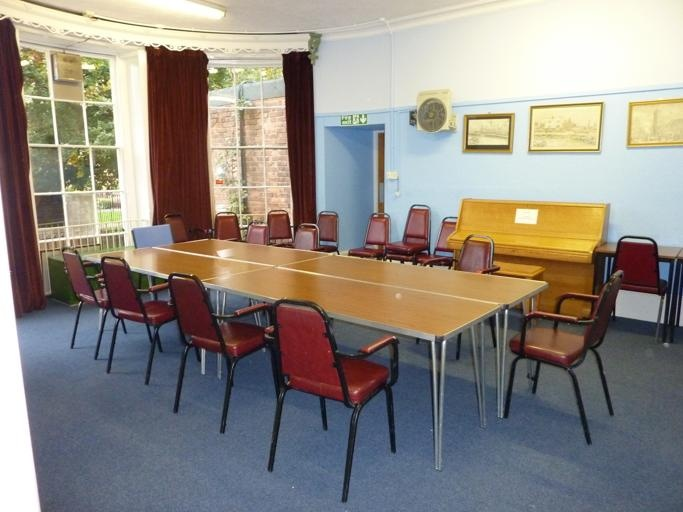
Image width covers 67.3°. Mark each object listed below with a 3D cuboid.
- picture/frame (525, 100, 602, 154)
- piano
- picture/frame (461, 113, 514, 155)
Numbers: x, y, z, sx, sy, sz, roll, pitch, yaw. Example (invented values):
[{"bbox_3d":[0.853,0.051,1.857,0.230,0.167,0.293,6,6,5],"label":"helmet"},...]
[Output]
[{"bbox_3d":[2.536,-1.459,5.752,0.669,0.478,0.024,7,12,42],"label":"picture/frame"},{"bbox_3d":[1.885,0.033,4.961,1.248,1.071,0.460,7,11,44],"label":"piano"},{"bbox_3d":[1.816,-1.511,6.273,0.554,0.406,0.023,6,12,39],"label":"picture/frame"}]
